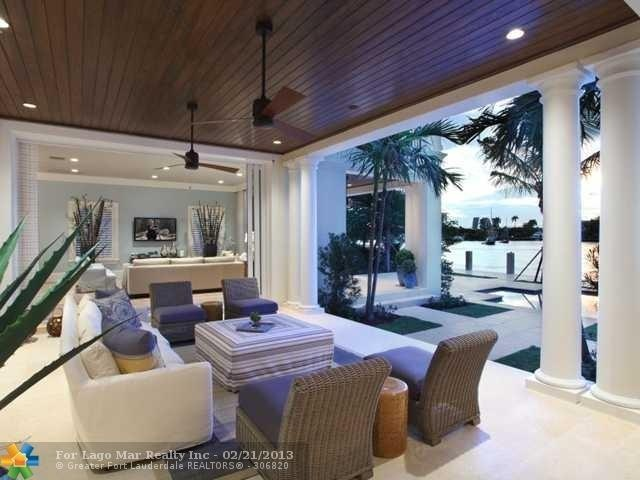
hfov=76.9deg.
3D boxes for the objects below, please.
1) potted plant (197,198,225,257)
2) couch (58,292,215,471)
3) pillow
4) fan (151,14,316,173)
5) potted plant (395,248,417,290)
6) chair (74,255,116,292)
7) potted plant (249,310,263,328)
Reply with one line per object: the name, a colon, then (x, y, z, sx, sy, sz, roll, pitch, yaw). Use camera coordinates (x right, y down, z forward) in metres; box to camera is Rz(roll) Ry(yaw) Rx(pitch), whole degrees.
potted plant: (-3.313, -0.347, 12.374, 0.887, 1.483, 2.121, -3, 1, -17)
couch: (-1.542, 1.142, 3.193, 1.214, 1.221, 0.877, -2, 1, 33)
pillow: (-1.751, 0.817, 3.546, 0.354, 0.303, 0.890, -2, 5, -36)
fan: (-0.657, -1.394, 4.232, 1.260, 0.844, 1.287, 6, 8, 43)
potted plant: (2.294, 0.740, 10.556, 0.521, 0.987, 0.401, -2, 1, 16)
chair: (-3.676, 0.579, 6.603, 0.685, 0.476, 0.633, -6, 22, -30)
potted plant: (-0.744, 0.890, 4.514, 0.170, 0.225, 0.158, 1, -5, -11)
